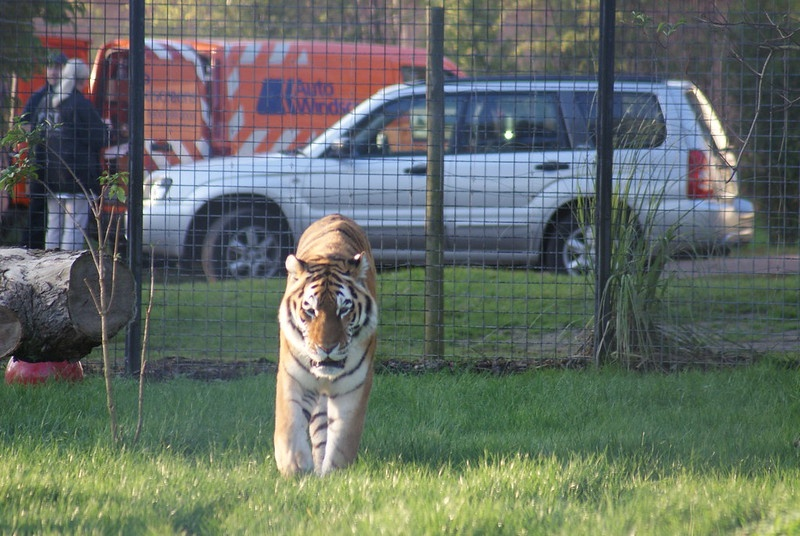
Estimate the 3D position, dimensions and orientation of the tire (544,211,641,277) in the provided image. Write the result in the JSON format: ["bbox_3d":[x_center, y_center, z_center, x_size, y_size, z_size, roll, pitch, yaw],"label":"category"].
[{"bbox_3d":[2.283,-0.270,22.791,0.625,0.809,0.239,1,-2,37],"label":"tire"}]

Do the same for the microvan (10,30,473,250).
[{"bbox_3d":[-2.321,-2.135,24.815,4.782,3.102,2.943,1,6,-8],"label":"microvan"}]

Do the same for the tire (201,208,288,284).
[{"bbox_3d":[-1.998,-0.255,24.439,0.686,0.893,0.267,-3,7,-28],"label":"tire"}]

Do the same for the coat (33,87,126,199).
[{"bbox_3d":[-3.993,-1.510,23.652,0.872,1.386,2.515,-1,8,-11],"label":"coat"}]

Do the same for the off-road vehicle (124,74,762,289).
[{"bbox_3d":[0.417,-1.066,23.651,6.857,3.270,3.342,2,3,-1],"label":"off-road vehicle"}]

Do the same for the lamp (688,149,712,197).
[{"bbox_3d":[3.599,-1.086,23.321,0.322,0.399,0.684,1,11,9],"label":"lamp"}]
